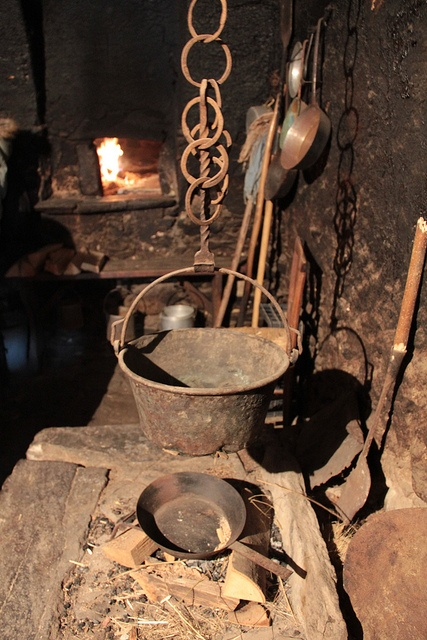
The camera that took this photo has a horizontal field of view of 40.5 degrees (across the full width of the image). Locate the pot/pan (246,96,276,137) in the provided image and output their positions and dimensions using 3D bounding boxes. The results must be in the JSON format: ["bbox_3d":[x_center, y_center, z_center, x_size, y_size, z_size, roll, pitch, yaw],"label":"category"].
[{"bbox_3d":[0.368,-1.463,4.158,0.136,0.218,0.219,10,18,-29],"label":"pot/pan"}]

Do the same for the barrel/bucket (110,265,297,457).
[{"bbox_3d":[-0.047,0.332,2.570,0.947,0.925,0.816,2,28,0],"label":"barrel/bucket"}]

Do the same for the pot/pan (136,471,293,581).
[{"bbox_3d":[0.001,0.898,2.374,0.724,0.122,0.448,24,36,35],"label":"pot/pan"}]
